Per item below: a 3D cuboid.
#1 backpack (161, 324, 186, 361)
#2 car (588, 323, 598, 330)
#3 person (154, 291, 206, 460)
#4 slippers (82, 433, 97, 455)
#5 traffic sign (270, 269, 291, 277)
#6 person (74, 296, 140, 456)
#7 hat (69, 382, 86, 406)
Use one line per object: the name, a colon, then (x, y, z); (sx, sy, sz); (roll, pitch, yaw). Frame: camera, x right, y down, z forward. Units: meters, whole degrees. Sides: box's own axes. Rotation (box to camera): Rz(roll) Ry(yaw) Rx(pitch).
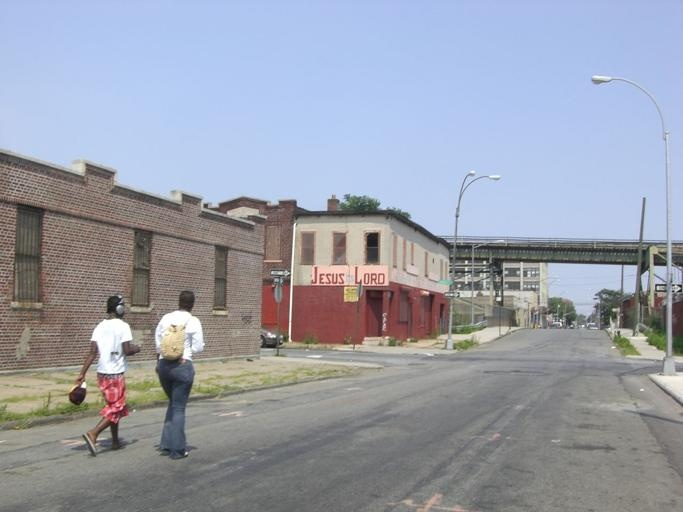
backpack: (-2.651, 1.347, 10.594); (0.386, 0.548, 0.207); (2, -3, -6)
car: (41.352, 11.700, 113.042); (1.233, 0.945, 2.108); (0, 2, 16)
person: (-2.601, 1.843, 10.823); (0.730, 2.605, 0.652); (3, -3, -16)
slippers: (-3.975, 2.963, 10.738); (0.114, 0.347, 0.129); (-23, 9, -25)
traffic sign: (-2.684, 0.782, 29.175); (0.637, 0.425, 1.133); (0, -7, 0)
person: (-3.703, 1.892, 10.874); (0.847, 2.492, 0.592); (3, -3, -21)
hat: (-4.188, 2.163, 10.800); (0.215, 0.377, 0.367); (3, -4, -16)
